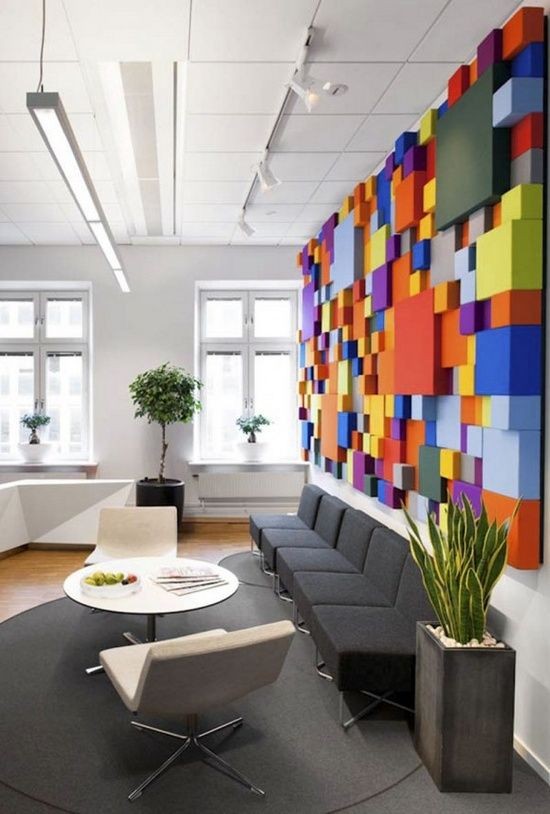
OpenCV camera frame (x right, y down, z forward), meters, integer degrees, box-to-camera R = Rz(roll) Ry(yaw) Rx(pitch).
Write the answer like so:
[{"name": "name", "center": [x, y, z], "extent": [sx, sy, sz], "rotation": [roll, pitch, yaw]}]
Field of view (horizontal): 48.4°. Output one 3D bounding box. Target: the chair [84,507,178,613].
[{"name": "chair", "center": [-0.912, 0.862, 4.040], "extent": [0.560, 0.411, 0.424], "rotation": [4, -8, -16]}]

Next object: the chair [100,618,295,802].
[{"name": "chair", "center": [-0.317, 1.053, 2.303], "extent": [0.523, 0.474, 0.695], "rotation": [1, 0, -30]}]

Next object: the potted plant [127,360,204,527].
[{"name": "potted plant", "center": [-1.120, 0.398, 6.290], "extent": [0.719, 1.248, 0.910], "rotation": [1, 0, -11]}]

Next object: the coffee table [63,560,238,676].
[{"name": "coffee table", "center": [-0.600, 1.063, 2.980], "extent": [0.480, 0.280, 0.524], "rotation": [-2, 4, -12]}]

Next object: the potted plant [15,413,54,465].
[{"name": "potted plant", "center": [-2.683, 0.329, 6.884], "extent": [0.304, 0.576, 0.460], "rotation": [1, 0, -21]}]

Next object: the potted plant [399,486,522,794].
[{"name": "potted plant", "center": [0.674, 0.844, 2.265], "extent": [0.395, 1.046, 0.336], "rotation": [1, 0, 23]}]

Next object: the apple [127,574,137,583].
[{"name": "apple", "center": [-0.727, 0.875, 3.120], "extent": [0.029, 0.045, 0.031], "rotation": [3, -4, -27]}]

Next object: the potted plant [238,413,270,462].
[{"name": "potted plant", "center": [-0.252, 0.342, 7.021], "extent": [0.349, 0.437, 0.460], "rotation": [1, 0, -3]}]
